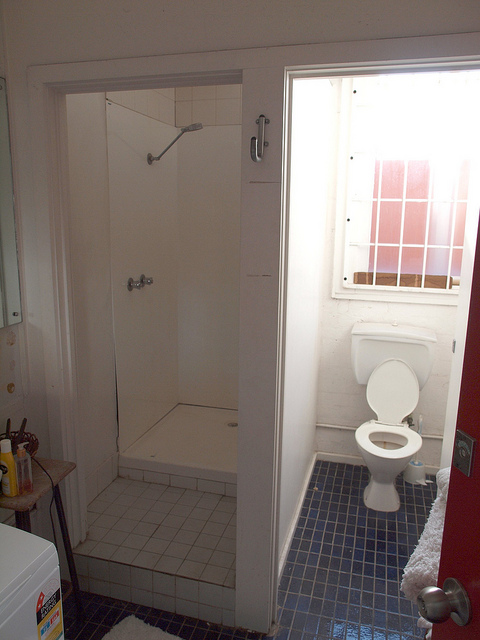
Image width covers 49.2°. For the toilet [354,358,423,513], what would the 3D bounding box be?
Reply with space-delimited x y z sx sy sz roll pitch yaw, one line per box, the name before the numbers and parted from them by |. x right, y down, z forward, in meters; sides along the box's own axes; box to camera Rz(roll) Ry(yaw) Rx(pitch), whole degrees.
toilet | 0.755 0.607 2.691 0.232 0.765 0.399 6 14 14

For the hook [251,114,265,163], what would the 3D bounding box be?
hook | 0.048 -0.527 1.532 0.031 0.144 0.033 -2 15 -29

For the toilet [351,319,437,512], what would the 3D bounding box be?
toilet | 0.829 0.494 2.789 0.435 1.073 0.762 4 23 13

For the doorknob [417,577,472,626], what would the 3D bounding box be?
doorknob | 0.316 0.442 0.823 0.054 0.091 0.075 4 -5 -10

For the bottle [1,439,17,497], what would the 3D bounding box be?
bottle | -0.679 0.436 1.534 0.043 0.170 0.036 -2 13 -27

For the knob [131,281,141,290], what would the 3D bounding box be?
knob | -0.561 -0.183 2.786 0.011 0.053 0.047 1 5 33
